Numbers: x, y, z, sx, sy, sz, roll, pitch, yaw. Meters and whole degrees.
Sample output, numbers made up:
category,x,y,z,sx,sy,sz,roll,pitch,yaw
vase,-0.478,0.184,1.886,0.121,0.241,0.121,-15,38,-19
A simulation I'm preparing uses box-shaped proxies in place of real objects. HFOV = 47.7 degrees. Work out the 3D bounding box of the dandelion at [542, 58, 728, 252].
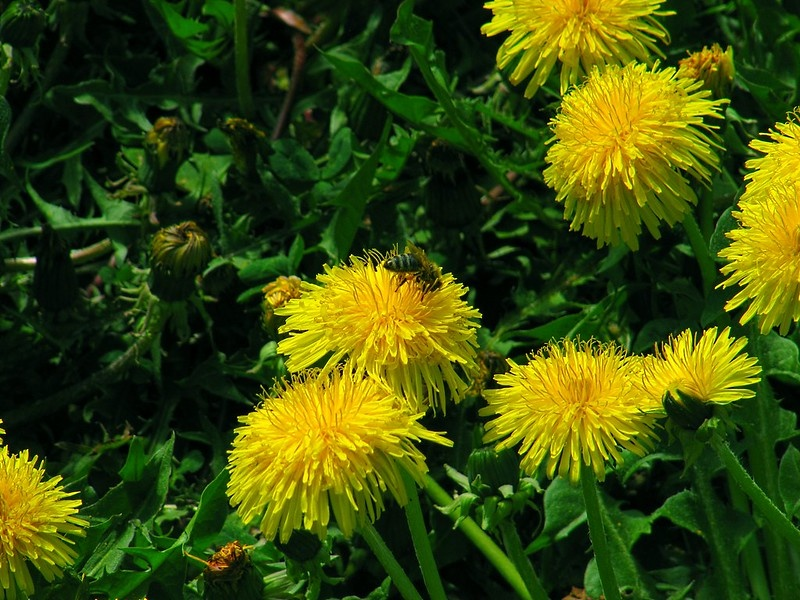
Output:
category,x,y,z,sx,sy,sz,roll,pitch,yaw
dandelion,0.350,-0.161,1.317,0.228,0.148,0.264,-15,58,15

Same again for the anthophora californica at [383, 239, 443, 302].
category,x,y,z,sx,sy,sz,roll,pitch,yaw
anthophora californica,0.015,-0.041,1.198,0.026,0.073,0.054,-53,17,-4

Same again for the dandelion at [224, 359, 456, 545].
category,x,y,z,sx,sy,sz,roll,pitch,yaw
dandelion,-0.099,0.187,1.056,0.213,0.121,0.244,-5,48,0

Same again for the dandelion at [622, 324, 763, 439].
category,x,y,z,sx,sy,sz,roll,pitch,yaw
dandelion,0.370,0.094,1.131,0.148,0.108,0.087,-15,13,1
